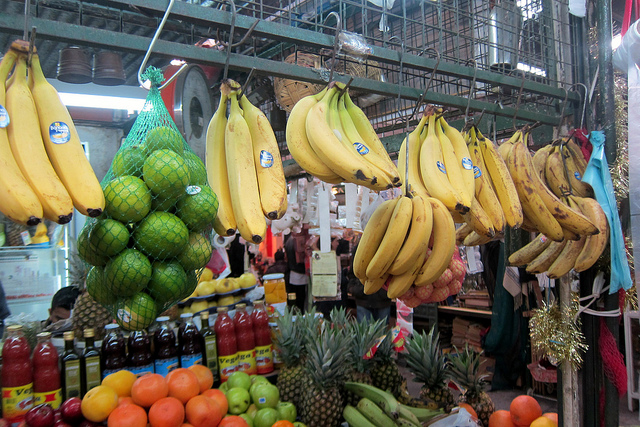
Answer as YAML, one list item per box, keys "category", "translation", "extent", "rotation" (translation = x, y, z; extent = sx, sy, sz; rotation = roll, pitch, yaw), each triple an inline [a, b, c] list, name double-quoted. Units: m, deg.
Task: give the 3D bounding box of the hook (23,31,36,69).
- category: "hook"
  translation: [-1.415, -0.820, 2.432]
  extent: [0.051, 0.243, 0.030]
  rotation: [5, 16, -6]

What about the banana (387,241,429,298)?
- category: "banana"
  translation: [0.564, 0.340, 3.090]
  extent: [0.215, 0.196, 0.647]
  rotation: [-34, 4, 14]

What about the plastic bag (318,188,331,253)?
- category: "plastic bag"
  translation: [0.042, 0.074, 5.017]
  extent: [0.096, 0.656, 0.353]
  rotation: [-1, 1, 0]

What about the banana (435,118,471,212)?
- category: "banana"
  translation: [0.774, -0.289, 3.079]
  extent: [0.209, 0.667, 0.117]
  rotation: [9, -26, -40]

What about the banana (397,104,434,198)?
- category: "banana"
  translation: [0.528, -0.338, 3.077]
  extent: [0.126, 0.671, 0.237]
  rotation: [25, -30, -9]

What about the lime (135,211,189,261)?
- category: "lime"
  translation: [-0.810, 0.118, 2.619]
  extent: [0.262, 0.223, 0.206]
  rotation: [9, 17, -18]

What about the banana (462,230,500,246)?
- category: "banana"
  translation: [1.088, 0.178, 3.462]
  extent: [0.073, 0.063, 0.222]
  rotation: [-9, -10, -27]

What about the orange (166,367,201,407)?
- category: "orange"
  translation: [-0.834, 1.041, 3.017]
  extent: [0.178, 0.222, 0.185]
  rotation: [1, 4, 2]

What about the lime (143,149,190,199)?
- category: "lime"
  translation: [-0.813, -0.195, 2.618]
  extent: [0.139, 0.178, 0.141]
  rotation: [-29, 22, 11]

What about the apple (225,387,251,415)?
- category: "apple"
  translation: [-0.560, 1.274, 3.322]
  extent: [0.175, 0.198, 0.190]
  rotation: [11, -23, -25]

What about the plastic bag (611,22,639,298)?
- category: "plastic bag"
  translation: [1.900, -0.354, 3.045]
  extent: [0.085, 1.575, 0.566]
  rotation: [-1, 1, 23]

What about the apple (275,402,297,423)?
- category: "apple"
  translation: [-0.218, 1.310, 3.277]
  extent: [0.103, 0.108, 0.110]
  rotation: [0, 0, 16]

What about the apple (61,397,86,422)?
- category: "apple"
  translation: [-1.422, 1.140, 2.876]
  extent: [0.112, 0.120, 0.136]
  rotation: [-8, 30, -31]

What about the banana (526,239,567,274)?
- category: "banana"
  translation: [1.683, 0.319, 3.569]
  extent: [0.262, 0.073, 0.083]
  rotation: [-34, 37, -33]

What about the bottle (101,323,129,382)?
- category: "bottle"
  translation: [-1.310, 0.877, 3.171]
  extent: [0.163, 0.256, 0.130]
  rotation: [-2, 1, -26]

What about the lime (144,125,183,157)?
- category: "lime"
  translation: [-0.852, -0.399, 2.706]
  extent: [0.144, 0.113, 0.195]
  rotation: [1, 44, -25]

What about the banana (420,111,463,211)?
- category: "banana"
  translation: [0.688, -0.268, 3.046]
  extent: [0.212, 0.709, 0.158]
  rotation: [-23, 34, 6]

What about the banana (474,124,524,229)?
- category: "banana"
  translation: [1.145, -0.211, 3.189]
  extent: [0.129, 0.834, 0.190]
  rotation: [-15, -8, 9]

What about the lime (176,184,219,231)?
- category: "lime"
  translation: [-0.659, -0.031, 2.658]
  extent: [0.213, 0.279, 0.223]
  rotation: [-1, -15, -7]

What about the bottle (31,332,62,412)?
- category: "bottle"
  translation: [-1.654, 0.949, 2.992]
  extent: [0.172, 0.378, 0.089]
  rotation: [-2, 1, -14]

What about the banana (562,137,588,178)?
- category: "banana"
  translation: [1.841, -0.397, 3.612]
  extent: [0.066, 0.319, 0.104]
  rotation: [-22, 4, 36]

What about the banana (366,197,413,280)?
- category: "banana"
  translation: [0.429, 0.184, 2.838]
  extent: [0.165, 0.561, 0.137]
  rotation: [31, 24, 14]

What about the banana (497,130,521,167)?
- category: "banana"
  translation: [1.328, -0.467, 3.431]
  extent: [0.091, 0.117, 0.351]
  rotation: [-32, 14, 51]

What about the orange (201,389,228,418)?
- category: "orange"
  translation: [-0.640, 1.181, 3.141]
  extent: [0.146, 0.185, 0.145]
  rotation: [-5, -15, -40]

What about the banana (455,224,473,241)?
- category: "banana"
  translation: [1.021, 0.139, 3.517]
  extent: [0.147, 0.052, 0.039]
  rotation: [-46, 8, -2]

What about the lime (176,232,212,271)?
- category: "lime"
  translation: [-0.669, 0.205, 2.690]
  extent: [0.175, 0.234, 0.186]
  rotation: [1, 0, 5]

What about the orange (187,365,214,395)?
- category: "orange"
  translation: [-0.752, 1.063, 3.205]
  extent: [0.136, 0.179, 0.143]
  rotation: [4, 2, 24]

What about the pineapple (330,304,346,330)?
- category: "pineapple"
  translation: [0.121, 0.797, 3.875]
  extent: [0.110, 0.189, 0.162]
  rotation: [1, 3, 37]

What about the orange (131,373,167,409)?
- category: "orange"
  translation: [-1.003, 1.043, 2.985]
  extent: [0.174, 0.176, 0.179]
  rotation: [25, -55, -27]

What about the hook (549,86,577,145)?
- category: "hook"
  translation: [2.016, -0.815, 4.133]
  extent: [0.185, 0.653, 0.049]
  rotation: [-3, -27, 47]

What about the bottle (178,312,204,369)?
- category: "bottle"
  translation: [-0.890, 0.870, 3.418]
  extent: [0.168, 0.348, 0.155]
  rotation: [-1, 1, 0]

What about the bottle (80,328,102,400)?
- category: "bottle"
  translation: [-1.430, 0.928, 3.109]
  extent: [0.124, 0.320, 0.110]
  rotation: [-2, 1, -26]

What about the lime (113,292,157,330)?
- category: "lime"
  translation: [-0.957, 0.487, 2.667]
  extent: [0.183, 0.235, 0.192]
  rotation: [6, 5, 4]

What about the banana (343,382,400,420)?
- category: "banana"
  translation: [0.339, 1.184, 3.186]
  extent: [0.109, 0.127, 0.367]
  rotation: [-31, 24, -21]
